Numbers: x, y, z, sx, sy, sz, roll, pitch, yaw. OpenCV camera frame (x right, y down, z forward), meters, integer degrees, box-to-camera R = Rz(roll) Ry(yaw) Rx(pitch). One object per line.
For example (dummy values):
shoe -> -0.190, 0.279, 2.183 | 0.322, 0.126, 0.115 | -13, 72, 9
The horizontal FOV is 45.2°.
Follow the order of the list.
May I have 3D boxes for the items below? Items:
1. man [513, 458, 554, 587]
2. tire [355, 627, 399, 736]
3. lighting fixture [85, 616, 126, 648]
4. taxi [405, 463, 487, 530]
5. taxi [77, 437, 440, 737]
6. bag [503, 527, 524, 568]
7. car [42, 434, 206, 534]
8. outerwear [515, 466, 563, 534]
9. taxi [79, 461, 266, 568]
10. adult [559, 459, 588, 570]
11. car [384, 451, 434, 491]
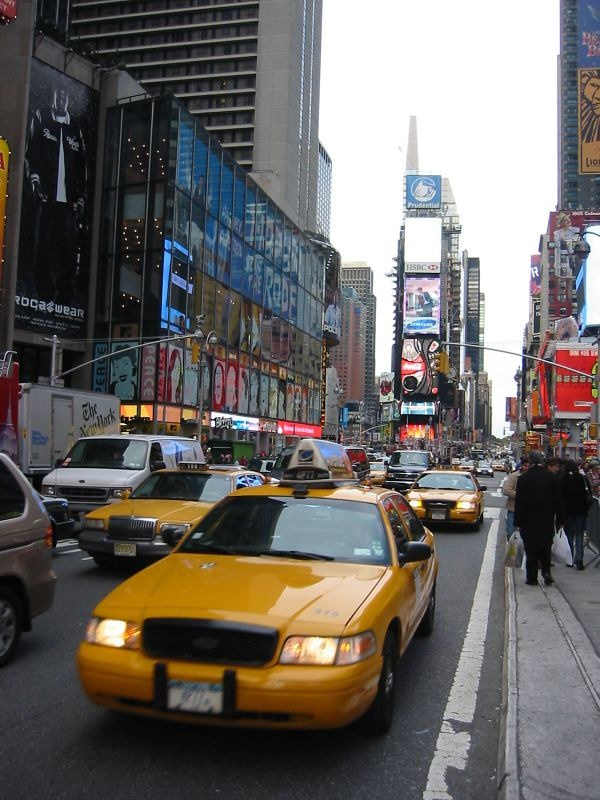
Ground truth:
man -> 3.097, 1.526, 9.415 | 0.459, 1.932, 0.512 | -8, 17, -4
tire -> 0.453, 1.564, 3.963 | 0.099, 0.491, 0.428 | 0, -2, 24
lighting fixture -> -0.977, 1.177, 3.634 | 0.164, 0.153, 0.052 | 7, 37, 20
taxi -> 3.709, 2.449, 17.953 | 1.399, 1.201, 3.209 | -2, -9, 12
taxi -> -0.010, 0.974, 4.585 | 1.041, 1.304, 2.686 | 0, -9, 14
bag -> 2.767, 1.934, 9.253 | 0.214, 0.468, 0.438 | 6, -1, 17
car -> -3.381, 1.474, 14.473 | 1.686, 1.692, 3.233 | -2, -8, 14
outerwear -> 3.113, 1.460, 9.377 | 0.567, 1.519, 0.333 | -7, 29, 8
taxi -> -1.707, 1.551, 10.360 | 1.204, 1.110, 2.990 | -1, -7, 15
adult -> 4.619, 1.919, 12.173 | 0.476, 1.746, 1.516 | 5, -1, 23
car -> 4.124, 2.696, 28.109 | 1.182, 1.529, 2.777 | -1, -9, 14
